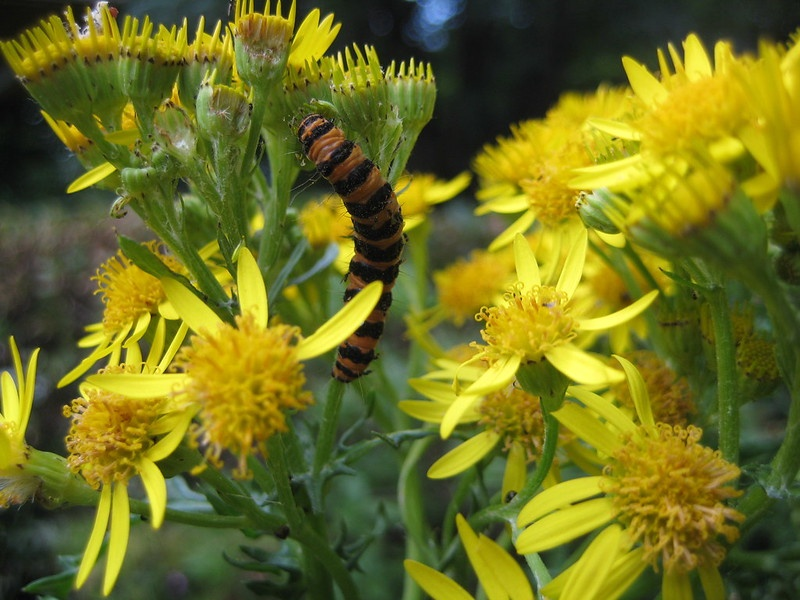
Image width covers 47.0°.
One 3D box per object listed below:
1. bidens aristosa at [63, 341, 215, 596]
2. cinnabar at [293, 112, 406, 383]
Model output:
[{"bbox_3d":[-0.640,0.288,2.265,0.299,0.713,0.293,-4,8,-28],"label":"bidens aristosa"},{"bbox_3d":[-0.115,-0.150,2.395,0.277,0.638,0.297,11,12,20],"label":"cinnabar"}]
